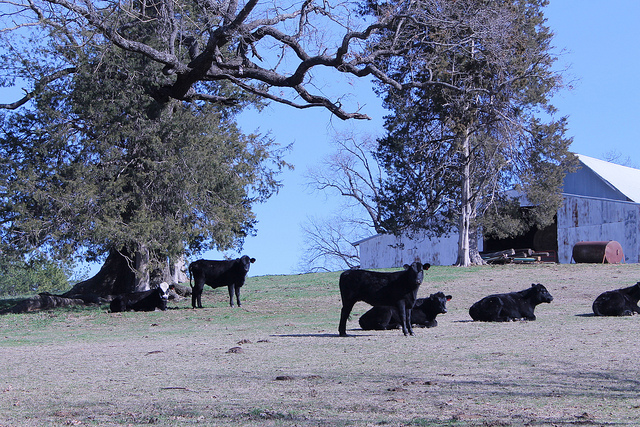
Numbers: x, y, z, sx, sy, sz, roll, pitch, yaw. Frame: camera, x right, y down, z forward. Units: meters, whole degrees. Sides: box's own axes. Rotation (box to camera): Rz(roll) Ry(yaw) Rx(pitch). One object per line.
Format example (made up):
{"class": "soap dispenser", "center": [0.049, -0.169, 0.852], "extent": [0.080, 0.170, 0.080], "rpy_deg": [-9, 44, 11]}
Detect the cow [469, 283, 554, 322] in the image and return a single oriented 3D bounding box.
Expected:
{"class": "cow", "center": [6.632, 3.183, 26.385], "extent": [2.666, 1.395, 1.022], "rpy_deg": [-4, -13, 4]}

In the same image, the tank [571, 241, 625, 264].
{"class": "tank", "center": [16.449, 2.355, 45.926], "extent": [2.102, 1.178, 1.454], "rpy_deg": [-2, 1, 44]}

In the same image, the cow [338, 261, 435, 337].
{"class": "cow", "center": [1.878, 2.672, 23.786], "extent": [2.493, 2.227, 0.723], "rpy_deg": [0, -8, 2]}

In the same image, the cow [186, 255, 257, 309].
{"class": "cow", "center": [-4.400, 3.090, 33.724], "extent": [2.603, 2.188, 1.580], "rpy_deg": [-2, -8, 14]}

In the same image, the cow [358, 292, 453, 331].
{"class": "cow", "center": [2.843, 3.450, 25.661], "extent": [3.431, 1.636, 1.239], "rpy_deg": [-3, 4, -13]}

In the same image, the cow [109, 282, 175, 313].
{"class": "cow", "center": [-7.818, 3.866, 33.380], "extent": [2.551, 1.148, 0.910], "rpy_deg": [-4, -12, 1]}
